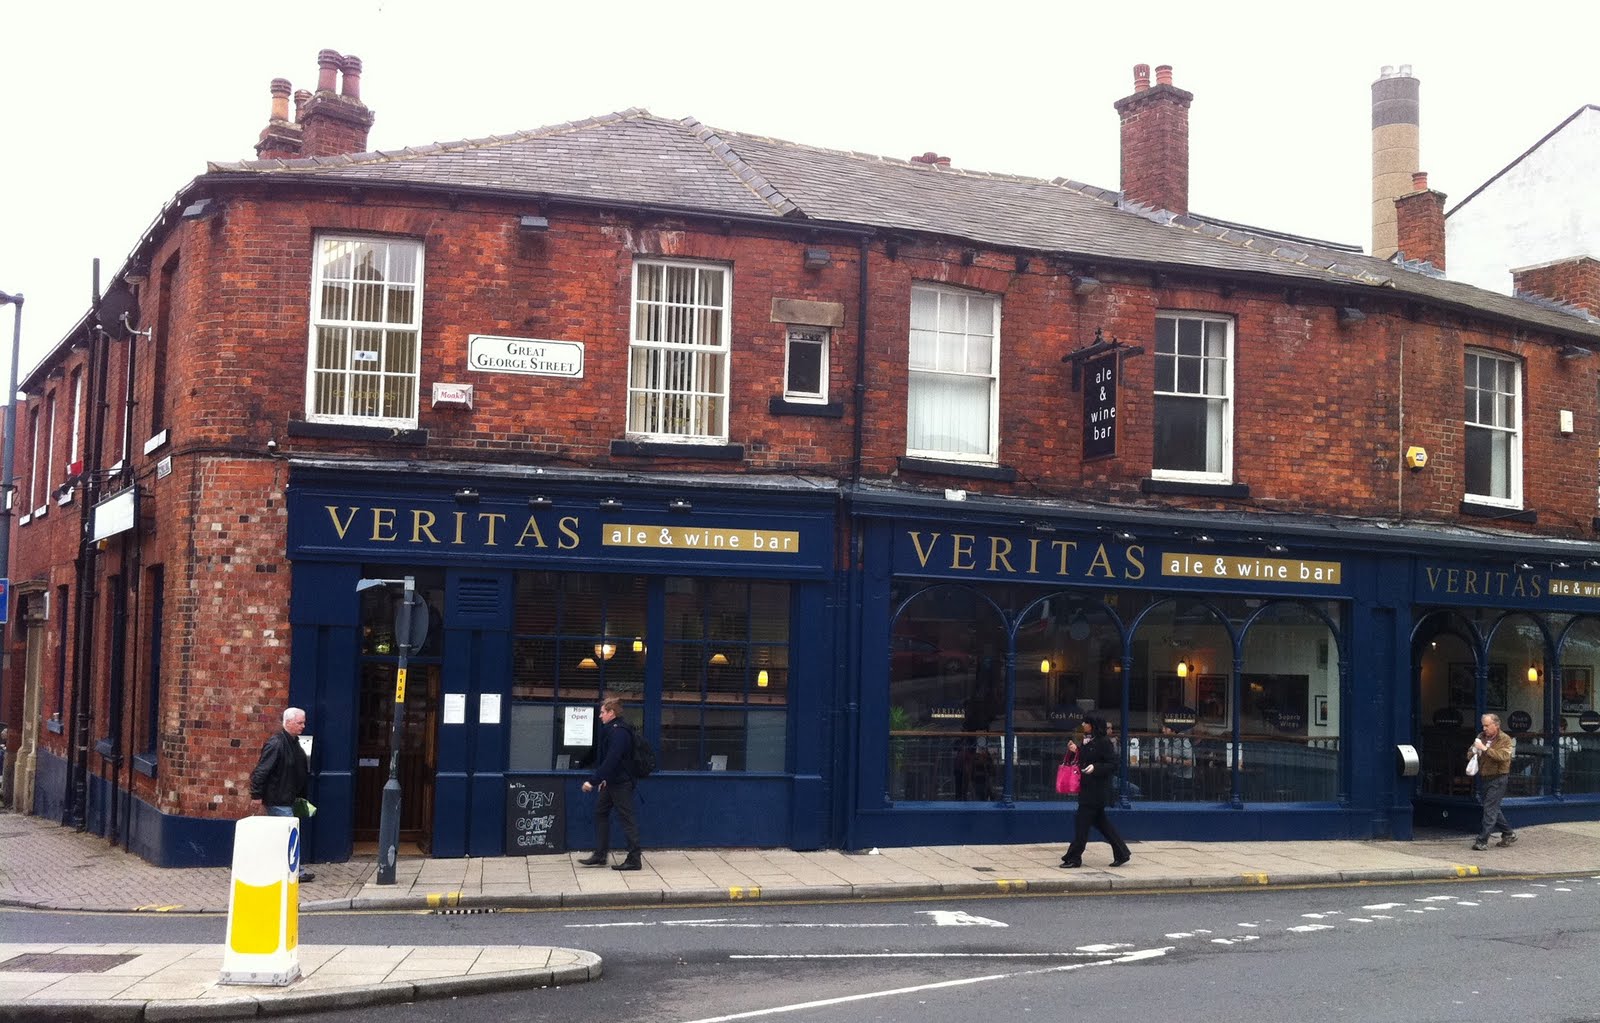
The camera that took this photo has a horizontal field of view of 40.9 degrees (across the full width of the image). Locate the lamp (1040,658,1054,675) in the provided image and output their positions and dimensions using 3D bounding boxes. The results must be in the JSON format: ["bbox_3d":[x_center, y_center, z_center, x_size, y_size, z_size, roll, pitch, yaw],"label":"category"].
[{"bbox_3d":[4.084,2.596,35.768,0.252,0.384,0.253,1,0,-24],"label":"lamp"}]

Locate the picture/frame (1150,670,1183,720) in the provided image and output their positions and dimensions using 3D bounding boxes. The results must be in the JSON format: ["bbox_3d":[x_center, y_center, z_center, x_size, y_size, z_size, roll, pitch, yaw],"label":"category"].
[{"bbox_3d":[6.132,3.113,36.148,0.857,1.057,0.107,2,-7,-20],"label":"picture/frame"}]

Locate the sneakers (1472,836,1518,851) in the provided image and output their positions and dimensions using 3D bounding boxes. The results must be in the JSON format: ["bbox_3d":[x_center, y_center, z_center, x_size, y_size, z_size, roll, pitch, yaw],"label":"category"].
[{"bbox_3d":[11.617,5.554,35.910,0.537,0.209,0.157,-10,0,4],"label":"sneakers"}]

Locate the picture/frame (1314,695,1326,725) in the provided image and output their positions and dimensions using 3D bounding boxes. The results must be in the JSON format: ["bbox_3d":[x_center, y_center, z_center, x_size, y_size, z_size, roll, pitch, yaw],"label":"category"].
[{"bbox_3d":[8.908,3.401,36.693,0.232,0.505,0.058,2,-11,-13],"label":"picture/frame"}]

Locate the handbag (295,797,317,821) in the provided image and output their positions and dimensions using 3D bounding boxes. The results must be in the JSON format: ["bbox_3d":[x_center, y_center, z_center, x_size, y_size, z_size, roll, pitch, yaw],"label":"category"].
[{"bbox_3d":[-7.300,4.372,31.607,0.162,0.410,0.476,-19,-12,-23],"label":"handbag"}]

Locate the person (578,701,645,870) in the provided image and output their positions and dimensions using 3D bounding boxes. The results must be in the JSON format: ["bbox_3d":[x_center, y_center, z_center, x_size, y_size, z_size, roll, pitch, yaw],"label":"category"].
[{"bbox_3d":[-2.948,4.242,33.548,0.893,2.672,1.477,0,-10,-6],"label":"person"}]

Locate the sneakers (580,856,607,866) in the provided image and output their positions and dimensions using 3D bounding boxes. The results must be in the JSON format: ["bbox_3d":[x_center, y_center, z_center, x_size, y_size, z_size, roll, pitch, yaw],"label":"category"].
[{"bbox_3d":[-3.265,5.400,33.211,0.484,0.171,0.287,-6,-11,29],"label":"sneakers"}]

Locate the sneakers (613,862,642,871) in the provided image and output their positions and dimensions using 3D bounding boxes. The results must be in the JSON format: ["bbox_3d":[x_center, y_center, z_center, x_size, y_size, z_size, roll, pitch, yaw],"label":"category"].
[{"bbox_3d":[-2.680,5.437,33.036,0.451,0.163,0.149,1,-6,24],"label":"sneakers"}]

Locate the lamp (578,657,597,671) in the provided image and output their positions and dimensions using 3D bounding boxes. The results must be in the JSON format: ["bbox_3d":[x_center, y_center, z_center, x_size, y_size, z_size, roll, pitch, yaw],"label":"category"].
[{"bbox_3d":[-3.414,2.433,34.233,0.237,0.157,0.236,0,-1,32],"label":"lamp"}]

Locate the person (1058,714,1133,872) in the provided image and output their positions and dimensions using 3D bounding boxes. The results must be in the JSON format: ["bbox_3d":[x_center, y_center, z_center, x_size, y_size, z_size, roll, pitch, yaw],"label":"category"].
[{"bbox_3d":[4.554,4.411,33.757,0.921,2.335,0.847,-4,-11,18],"label":"person"}]

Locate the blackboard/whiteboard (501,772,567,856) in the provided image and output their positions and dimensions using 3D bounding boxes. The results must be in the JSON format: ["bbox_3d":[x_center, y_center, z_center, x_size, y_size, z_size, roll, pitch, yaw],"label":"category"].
[{"bbox_3d":[-4.262,4.793,33.797,1.376,1.452,0.218,2,-11,-14],"label":"blackboard/whiteboard"}]

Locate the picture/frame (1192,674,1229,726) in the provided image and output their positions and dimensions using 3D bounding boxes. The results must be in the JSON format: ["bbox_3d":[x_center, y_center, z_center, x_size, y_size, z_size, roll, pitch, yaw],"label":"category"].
[{"bbox_3d":[6.897,3.220,36.304,0.909,1.128,0.092,3,-9,-13],"label":"picture/frame"}]

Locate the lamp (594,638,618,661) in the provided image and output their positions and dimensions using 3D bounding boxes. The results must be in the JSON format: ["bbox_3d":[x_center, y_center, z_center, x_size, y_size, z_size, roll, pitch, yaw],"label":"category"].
[{"bbox_3d":[-3.129,2.198,34.301,0.370,0.293,0.336,2,-6,0],"label":"lamp"}]

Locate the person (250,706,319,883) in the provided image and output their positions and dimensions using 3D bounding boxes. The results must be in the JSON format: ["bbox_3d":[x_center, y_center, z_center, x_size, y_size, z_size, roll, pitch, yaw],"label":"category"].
[{"bbox_3d":[-7.691,3.709,31.749,0.855,1.620,0.974,2,-10,-14],"label":"person"}]

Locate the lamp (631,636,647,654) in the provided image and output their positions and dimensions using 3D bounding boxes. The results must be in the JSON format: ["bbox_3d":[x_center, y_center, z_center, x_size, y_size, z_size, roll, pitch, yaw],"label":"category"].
[{"bbox_3d":[-2.615,2.137,34.346,0.291,0.257,0.146,0,-7,0],"label":"lamp"}]
